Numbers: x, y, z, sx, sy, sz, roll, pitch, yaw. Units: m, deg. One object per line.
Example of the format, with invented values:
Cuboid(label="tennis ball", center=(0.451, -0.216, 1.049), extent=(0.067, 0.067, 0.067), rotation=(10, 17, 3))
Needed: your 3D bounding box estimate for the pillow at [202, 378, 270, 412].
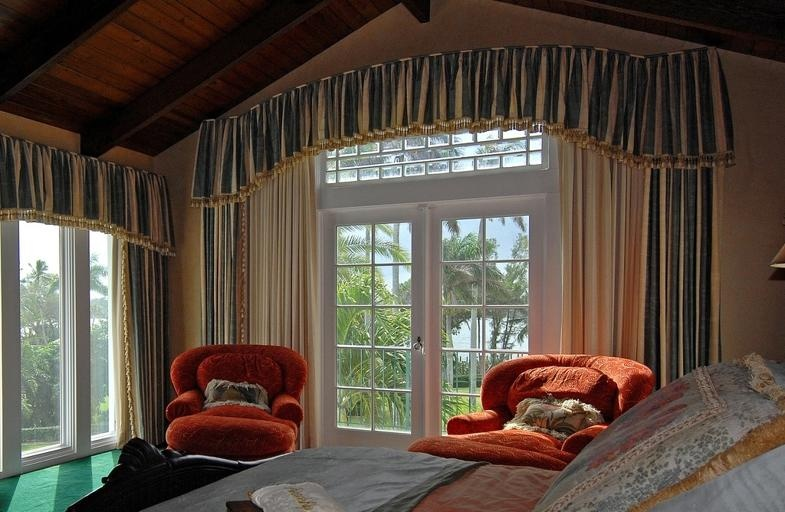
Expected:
Cuboid(label="pillow", center=(-1.394, 1.227, 5.767), extent=(0.446, 0.291, 0.124), rotation=(2, -33, -9))

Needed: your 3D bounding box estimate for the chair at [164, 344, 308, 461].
Cuboid(label="chair", center=(-1.389, 1.406, 5.720), extent=(1.208, 1.206, 1.401), rotation=(5, -5, -13))

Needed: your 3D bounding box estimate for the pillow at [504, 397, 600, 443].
Cuboid(label="pillow", center=(1.328, 1.269, 5.108), extent=(0.680, 0.230, 0.569), rotation=(-1, 3, 15))
